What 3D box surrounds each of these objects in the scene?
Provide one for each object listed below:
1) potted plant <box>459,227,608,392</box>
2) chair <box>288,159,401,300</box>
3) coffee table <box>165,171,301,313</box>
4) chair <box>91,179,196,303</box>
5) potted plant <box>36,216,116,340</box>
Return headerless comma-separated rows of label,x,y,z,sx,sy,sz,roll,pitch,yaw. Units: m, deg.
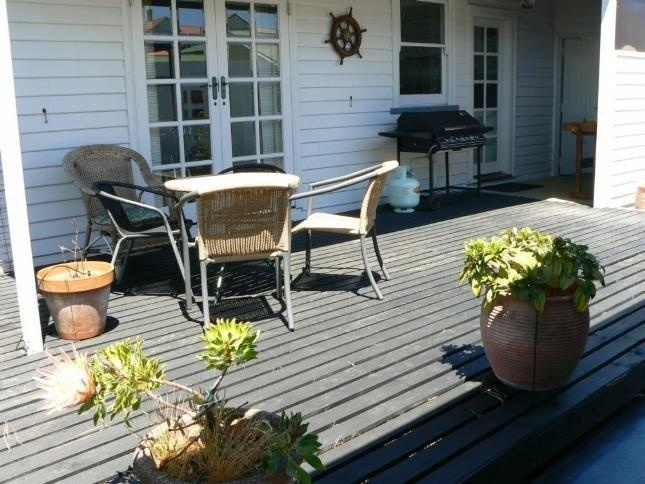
potted plant,0.933,0.326,2.308,0.545,0.712,0.381,8,24,28
chair,0.097,-0.122,3.930,1.007,0.826,0.982,-8,12,-34
coffee table,-0.621,0.038,3.522,1.095,0.990,0.802,-4,30,-13
chair,-1.336,-0.049,3.963,0.948,0.731,0.890,6,13,25
potted plant,-1.569,0.280,3.191,0.544,0.574,0.430,-3,8,-13
